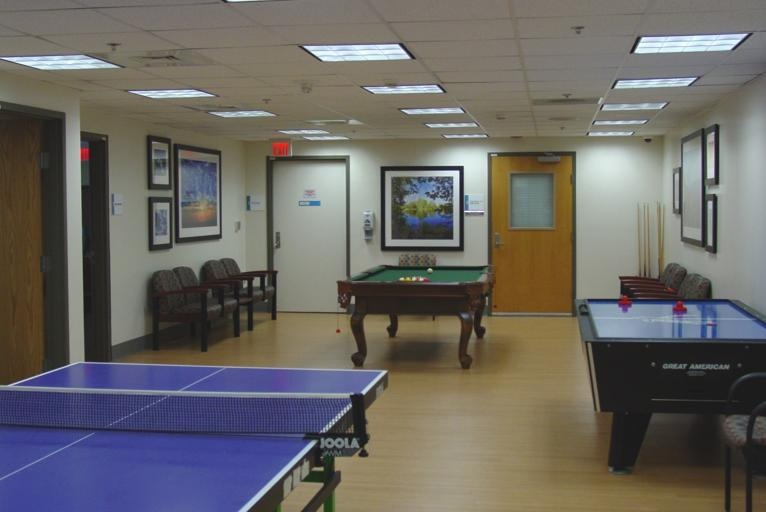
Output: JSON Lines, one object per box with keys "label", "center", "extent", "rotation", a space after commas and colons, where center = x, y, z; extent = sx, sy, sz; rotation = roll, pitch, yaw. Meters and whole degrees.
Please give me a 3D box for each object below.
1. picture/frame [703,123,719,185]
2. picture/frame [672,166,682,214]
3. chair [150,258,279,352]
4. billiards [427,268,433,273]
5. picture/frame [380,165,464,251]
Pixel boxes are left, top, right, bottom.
{"label": "picture/frame", "center": [4.281, -1.294, 7.599], "extent": [0.127, 0.775, 0.605], "rotation": [2, 8, 22]}
{"label": "picture/frame", "center": [4.692, -1.025, 9.342], "extent": [0.096, 0.740, 0.765], "rotation": [2, 8, 22]}
{"label": "chair", "center": [-2.750, 0.717, 9.500], "extent": [1.042, 1.182, 2.278], "rotation": [2, 7, 18]}
{"label": "billiards", "center": [0.724, 0.230, 9.072], "extent": [0.073, 0.040, 0.073], "rotation": [2, 10, 15]}
{"label": "picture/frame", "center": [0.773, -0.922, 11.015], "extent": [1.653, 1.579, 0.059], "rotation": [0, 0, 0]}
